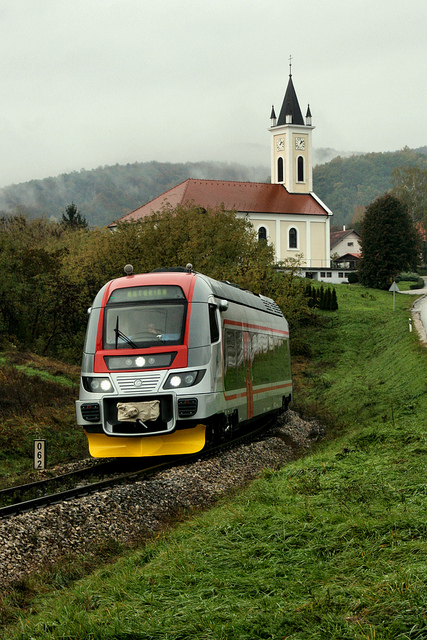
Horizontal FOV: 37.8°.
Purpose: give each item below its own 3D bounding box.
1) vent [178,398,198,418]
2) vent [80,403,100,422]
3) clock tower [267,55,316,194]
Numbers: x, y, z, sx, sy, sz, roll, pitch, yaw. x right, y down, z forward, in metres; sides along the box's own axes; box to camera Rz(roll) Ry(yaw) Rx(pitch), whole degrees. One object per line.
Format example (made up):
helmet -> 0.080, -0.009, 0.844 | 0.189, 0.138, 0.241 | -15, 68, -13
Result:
vent -> -0.472, 1.575, 11.357 | 0.231, 0.248, 0.385 | 1, 0, -18
vent -> -2.279, 1.716, 11.603 | 0.343, 0.317, 0.194 | -1, 5, 13
clock tower -> 10.393, -24.795, 80.825 | 5.921, 17.082, 5.921 | 4, 11, 31
